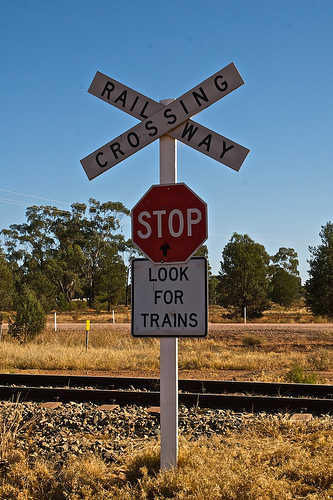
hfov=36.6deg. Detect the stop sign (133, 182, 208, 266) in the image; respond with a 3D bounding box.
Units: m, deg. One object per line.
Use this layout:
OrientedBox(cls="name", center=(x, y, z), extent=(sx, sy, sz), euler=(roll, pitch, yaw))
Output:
OrientedBox(cls="stop sign", center=(0.028, -0.235, 4.224), extent=(0.722, 0.734, 0.255), euler=(-1, -4, 42))
